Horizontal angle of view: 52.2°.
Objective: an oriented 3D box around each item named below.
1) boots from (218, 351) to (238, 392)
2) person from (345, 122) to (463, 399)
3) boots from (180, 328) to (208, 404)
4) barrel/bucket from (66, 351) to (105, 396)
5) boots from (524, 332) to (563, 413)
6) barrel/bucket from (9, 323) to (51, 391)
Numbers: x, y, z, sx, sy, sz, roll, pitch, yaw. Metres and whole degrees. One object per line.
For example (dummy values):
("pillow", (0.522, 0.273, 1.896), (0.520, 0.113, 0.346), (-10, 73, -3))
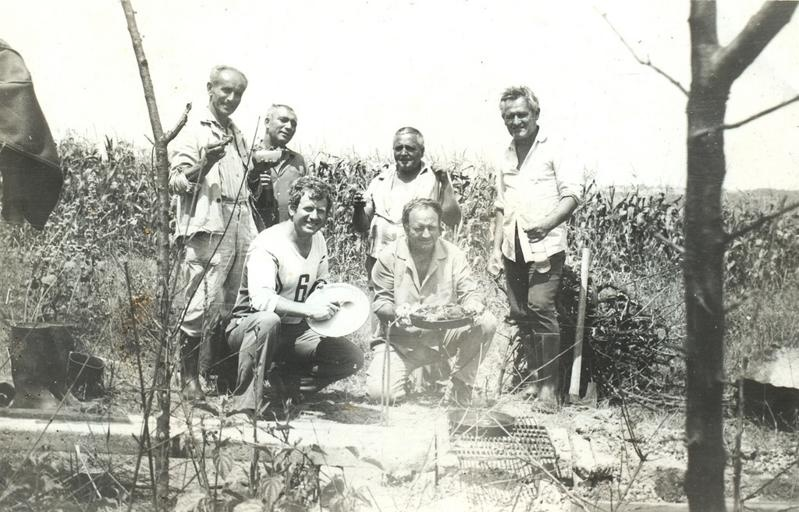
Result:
("boots", (-1.471, 0.997, 7.063), (0.193, 0.327, 0.081), (2, 4, 12))
("person", (0.059, -0.012, 7.294), (0.900, 2.262, 0.717), (2, 26, 8))
("boots", (-1.795, 0.961, 7.116), (0.240, 0.582, 0.156), (5, -10, -15))
("barrel/bucket", (-2.745, 1.054, 7.174), (0.324, 0.413, 0.114), (1, -10, 7))
("boots", (1.218, 0.986, 6.856), (0.252, 0.640, 0.123), (-1, -10, 14))
("barrel/bucket", (-3.234, 0.907, 7.146), (0.311, 0.579, 0.144), (1, -10, 4))
